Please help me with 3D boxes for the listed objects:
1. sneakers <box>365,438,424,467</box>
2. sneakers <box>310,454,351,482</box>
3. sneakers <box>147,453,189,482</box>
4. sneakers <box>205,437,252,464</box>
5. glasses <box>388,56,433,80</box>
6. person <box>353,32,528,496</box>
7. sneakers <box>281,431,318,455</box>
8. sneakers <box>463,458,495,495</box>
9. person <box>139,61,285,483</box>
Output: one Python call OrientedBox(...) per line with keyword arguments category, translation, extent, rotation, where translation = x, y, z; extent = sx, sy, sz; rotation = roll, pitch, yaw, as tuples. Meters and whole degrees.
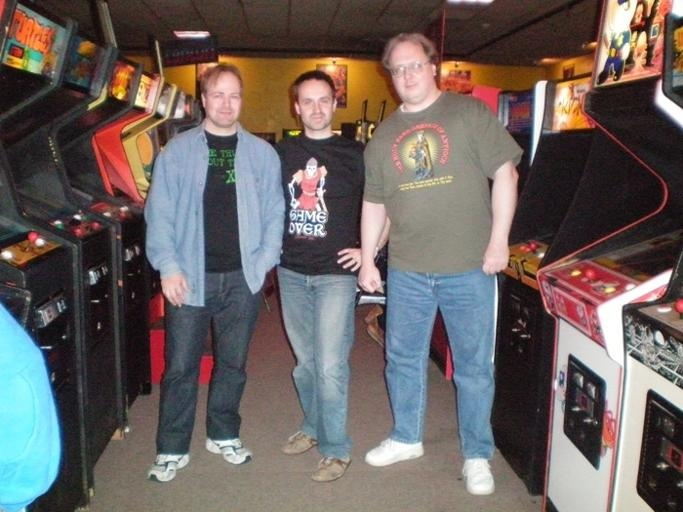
OrientedBox(category="sneakers", translation=(0.245, 0.957, 2.410), extent=(0.334, 0.117, 0.110), rotation=(0, 2, -7))
OrientedBox(category="sneakers", translation=(-0.055, 0.982, 2.305), extent=(0.088, 0.063, 0.174), rotation=(-3, -4, 41))
OrientedBox(category="sneakers", translation=(-0.796, 0.978, 2.298), extent=(0.087, 0.080, 0.193), rotation=(3, -13, 9))
OrientedBox(category="sneakers", translation=(-0.535, 0.939, 2.435), extent=(0.230, 0.086, 0.100), rotation=(3, -2, 23))
OrientedBox(category="glasses", translation=(0.287, -0.785, 2.080), extent=(0.203, 0.093, 0.111), rotation=(3, 13, 8))
OrientedBox(category="person", translation=(0.393, 0.057, 2.176), extent=(0.721, 1.978, 0.321), rotation=(6, 16, 16))
OrientedBox(category="sneakers", translation=(-0.217, 0.944, 2.513), extent=(0.163, 0.056, 0.085), rotation=(7, -7, -43))
OrientedBox(category="sneakers", translation=(0.630, 0.984, 2.293), extent=(0.138, 0.090, 0.248), rotation=(-3, 6, 8))
OrientedBox(category="person", translation=(-0.586, 0.083, 2.253), extent=(0.677, 1.852, 0.341), rotation=(-4, 16, -20))
